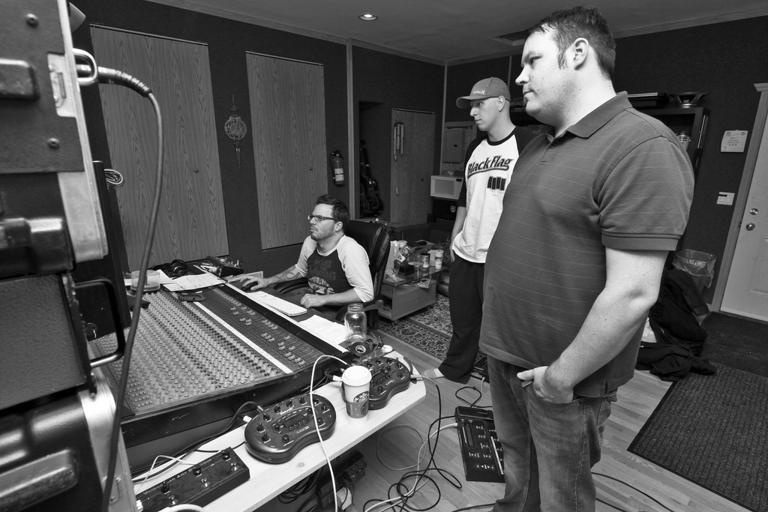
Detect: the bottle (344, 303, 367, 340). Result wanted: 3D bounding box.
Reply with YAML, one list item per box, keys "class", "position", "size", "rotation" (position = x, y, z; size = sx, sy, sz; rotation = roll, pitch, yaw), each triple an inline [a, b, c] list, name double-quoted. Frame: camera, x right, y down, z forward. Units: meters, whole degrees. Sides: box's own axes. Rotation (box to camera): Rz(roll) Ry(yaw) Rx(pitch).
- class: "bottle"
  position: [-0.150, 0.356, 2.695]
  size: [0.108, 0.191, 0.111]
  rotation: [2, 12, 0]

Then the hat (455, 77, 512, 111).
- class: "hat"
  position: [0.620, -1.014, 3.206]
  size: [0.393, 0.208, 0.260]
  rotation: [2, 17, -1]

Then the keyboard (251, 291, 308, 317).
- class: "keyboard"
  position: [-0.549, 0.242, 2.619]
  size: [0.365, 0.047, 0.172]
  rotation: [12, 20, 41]

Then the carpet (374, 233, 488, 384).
- class: "carpet"
  position: [0.422, 0.529, 4.245]
  size: [1.210, 0.329, 0.786]
  rotation: [27, 41, 32]

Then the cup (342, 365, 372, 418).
- class: "cup"
  position: [-0.108, 0.572, 2.103]
  size: [0.128, 0.169, 0.131]
  rotation: [-1, 0, 0]

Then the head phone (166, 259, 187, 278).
- class: "head phone"
  position: [-1.269, 0.074, 3.174]
  size: [0.101, 0.074, 0.129]
  rotation: [-23, 21, -30]

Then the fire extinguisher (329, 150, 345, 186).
- class: "fire extinguisher"
  position: [-0.475, -0.899, 5.305]
  size: [0.088, 0.368, 0.196]
  rotation: [10, 19, 35]
